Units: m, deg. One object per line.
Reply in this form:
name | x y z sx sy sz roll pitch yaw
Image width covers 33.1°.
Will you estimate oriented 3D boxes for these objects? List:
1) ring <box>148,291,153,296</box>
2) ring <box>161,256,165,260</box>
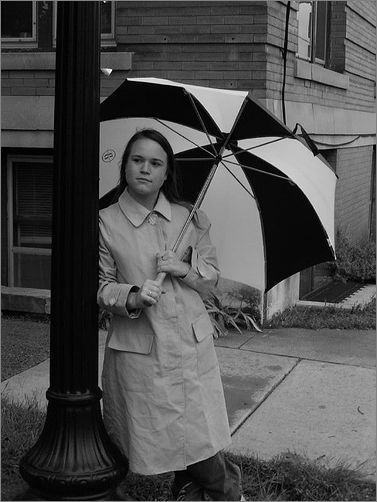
ring | -0.127 0.143 2.102 0.009 0.012 0.011 5 -14 -12
ring | -0.093 0.027 2.268 0.010 0.018 0.025 -1 6 -16
